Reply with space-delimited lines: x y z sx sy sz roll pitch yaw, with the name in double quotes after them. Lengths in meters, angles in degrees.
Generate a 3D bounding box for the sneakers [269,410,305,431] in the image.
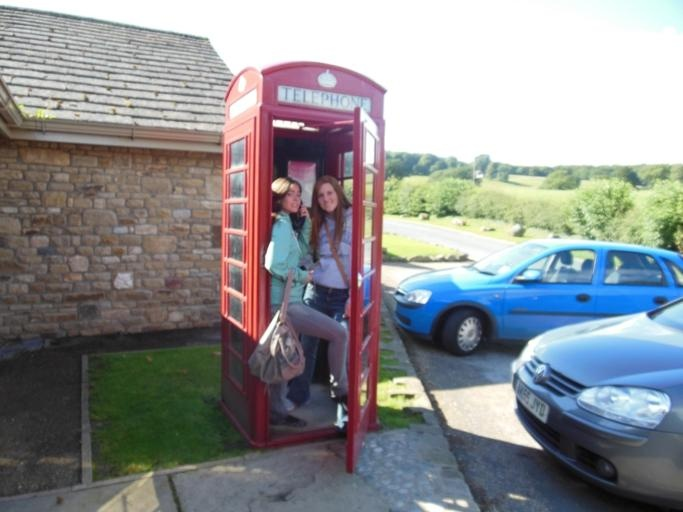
-0.630 1.860 6.293 0.437 0.214 0.171 1 6 -8 "sneakers"

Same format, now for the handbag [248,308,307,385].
-0.675 0.948 5.687 0.564 0.760 0.234 1 12 -3 "handbag"
